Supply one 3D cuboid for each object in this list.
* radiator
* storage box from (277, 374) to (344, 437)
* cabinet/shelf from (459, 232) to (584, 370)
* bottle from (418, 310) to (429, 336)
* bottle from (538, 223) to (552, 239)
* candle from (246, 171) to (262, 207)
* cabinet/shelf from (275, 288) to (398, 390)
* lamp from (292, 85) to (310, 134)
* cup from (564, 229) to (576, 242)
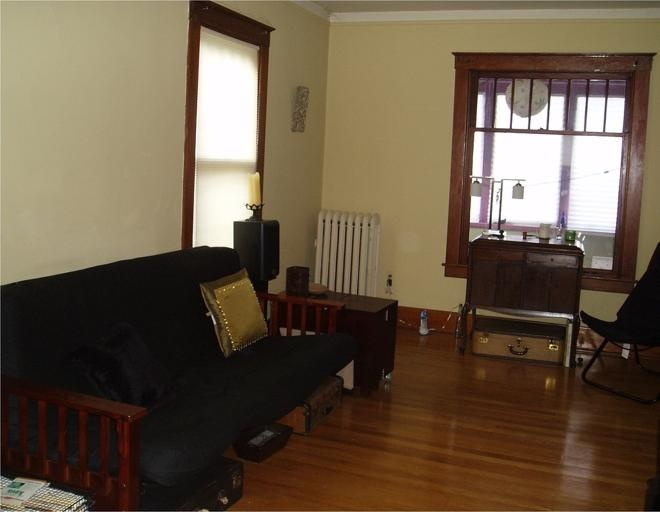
[{"bbox_3d":[0.157,-0.013,5.253,0.712,1.210,0.241,3,2,9],"label":"radiator"},{"bbox_3d":[-0.088,0.908,3.364,0.247,0.128,0.336,1,11,28],"label":"storage box"},{"bbox_3d":[1.732,0.380,5.053,0.962,1.085,0.815,5,8,20],"label":"cabinet/shelf"},{"bbox_3d":[0.922,0.644,5.475,0.094,0.212,0.242,3,10,9],"label":"bottle"},{"bbox_3d":[1.922,-0.215,5.057,0.133,0.142,0.109,0,5,3],"label":"bottle"},{"bbox_3d":[-0.580,-0.510,4.296,0.088,0.252,0.150,1,9,-6],"label":"candle"},{"bbox_3d":[0.068,0.601,4.140,0.742,0.576,0.414,6,8,27],"label":"cabinet/shelf"},{"bbox_3d":[-0.285,-1.365,5.218,0.080,0.425,0.271,4,10,18],"label":"lamp"},{"bbox_3d":[2.111,-0.180,4.937,0.090,0.097,0.095,-1,5,0],"label":"cup"}]
